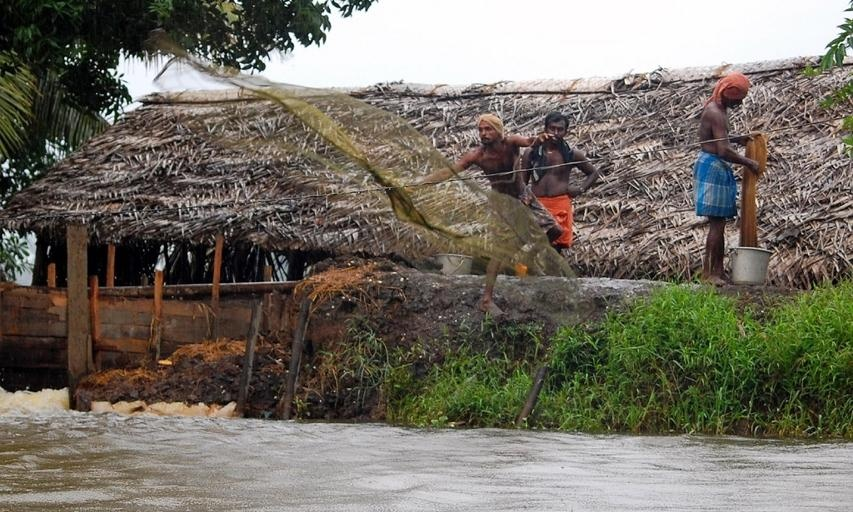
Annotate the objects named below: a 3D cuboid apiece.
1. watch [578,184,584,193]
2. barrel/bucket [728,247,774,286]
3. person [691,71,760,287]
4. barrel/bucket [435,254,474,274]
[{"bbox_3d":[2.236,-0.967,19.075,0.093,0.088,0.030,-4,-7,-17],"label":"watch"},{"bbox_3d":[4.566,0.172,18.475,0.550,0.428,0.520,6,-6,1],"label":"barrel/bucket"},{"bbox_3d":[4.146,-1.102,18.483,0.788,2.845,0.930,3,15,11],"label":"person"},{"bbox_3d":[0.431,0.119,19.394,0.342,0.226,0.339,0,1,0],"label":"barrel/bucket"}]
